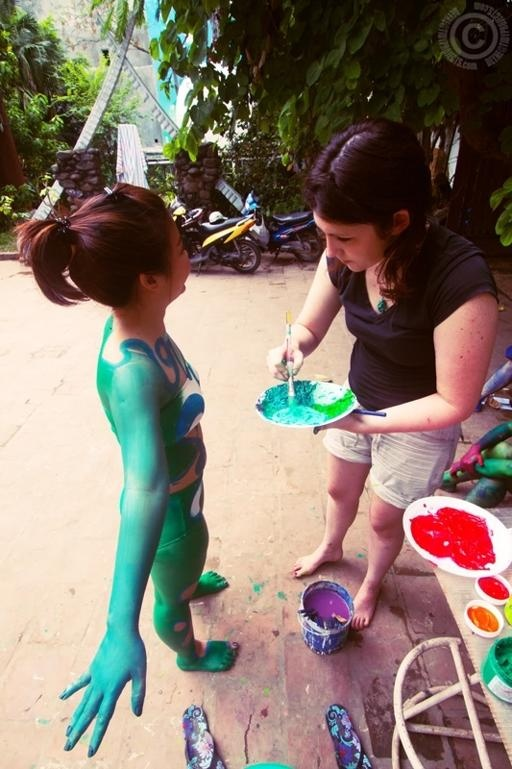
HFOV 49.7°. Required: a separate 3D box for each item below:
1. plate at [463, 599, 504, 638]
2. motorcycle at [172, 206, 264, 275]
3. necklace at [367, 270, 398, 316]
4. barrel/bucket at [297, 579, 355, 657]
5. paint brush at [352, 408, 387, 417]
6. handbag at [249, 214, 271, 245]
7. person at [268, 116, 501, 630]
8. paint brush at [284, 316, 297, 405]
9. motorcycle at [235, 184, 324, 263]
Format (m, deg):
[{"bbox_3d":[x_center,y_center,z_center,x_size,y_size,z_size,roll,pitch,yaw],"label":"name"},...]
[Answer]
[{"bbox_3d":[0.676,0.708,1.660,0.089,0.039,0.086,0,37,4],"label":"plate"},{"bbox_3d":[-0.754,-2.073,7.894,1.653,0.863,0.660,8,15,18],"label":"motorcycle"},{"bbox_3d":[0.406,-0.317,1.892,0.050,0.138,0.104,-18,-8,20],"label":"necklace"},{"bbox_3d":[0.315,1.085,2.450,0.180,0.161,0.177,-4,-2,0],"label":"barrel/bucket"},{"bbox_3d":[0.370,0.090,1.834,0.062,0.014,0.042,4,8,6],"label":"paint brush"},{"bbox_3d":[0.072,-2.138,7.694,0.284,0.438,0.236,-12,36,-18],"label":"handbag"},{"bbox_3d":[0.411,0.144,2.149,0.527,2.130,0.814,-17,38,-24],"label":"person"},{"bbox_3d":[0.121,-0.092,2.081,0.049,0.030,0.276,-8,65,8],"label":"paint brush"},{"bbox_3d":[0.454,-2.321,7.997,1.396,0.933,0.683,11,61,5],"label":"motorcycle"}]
